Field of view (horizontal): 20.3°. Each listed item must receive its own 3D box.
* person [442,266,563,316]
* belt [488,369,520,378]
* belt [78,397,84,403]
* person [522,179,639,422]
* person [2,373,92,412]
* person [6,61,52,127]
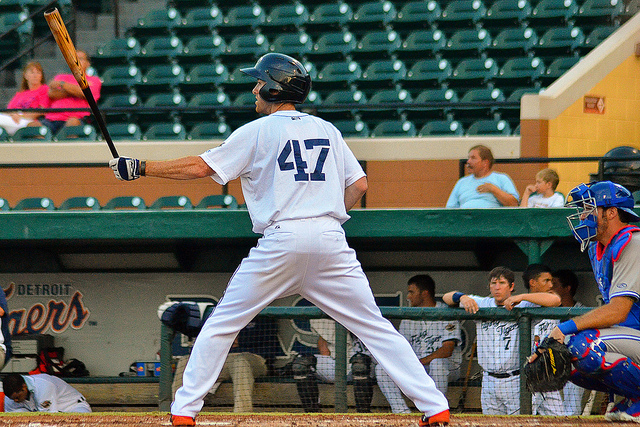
[{"bbox_3d":[2.036,0.882,19.955,1.093,0.557,1.050,-1,0,11],"label":"person"},{"bbox_3d":[2.053,1.806,20.020,0.335,0.073,0.033,-8,-11,22],"label":"belt"},{"bbox_3d":[-2.807,2.171,20.761,0.026,0.060,0.018,11,-22,13],"label":"belt"},{"bbox_3d":[2.876,0.968,19.472,1.055,2.663,1.070,0,-2,11],"label":"person"},{"bbox_3d":[-3.191,2.087,20.667,0.970,0.465,0.241,-3,-10,-10],"label":"person"},{"bbox_3d":[-3.702,-1.546,23.260,0.541,0.987,0.552,14,-7,-26],"label":"person"}]
